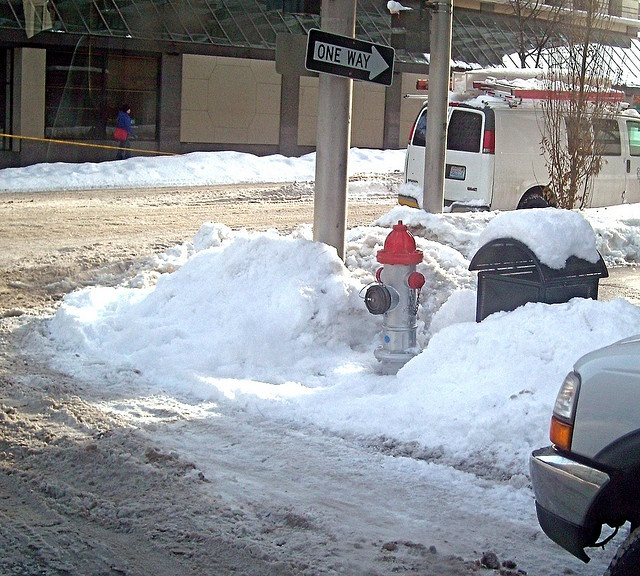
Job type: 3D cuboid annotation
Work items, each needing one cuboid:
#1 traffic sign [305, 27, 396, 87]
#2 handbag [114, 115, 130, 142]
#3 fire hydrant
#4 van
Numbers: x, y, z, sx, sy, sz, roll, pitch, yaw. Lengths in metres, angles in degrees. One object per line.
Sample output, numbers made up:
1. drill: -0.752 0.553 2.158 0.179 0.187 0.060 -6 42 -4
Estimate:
1. traffic sign: 0.284 -2.342 10.264 1.183 0.542 0.281 -9 16 -39
2. handbag: -5.244 -4.282 26.949 0.386 0.674 0.164 6 0 1
3. fire hydrant: 0.664 0.086 9.139 0.508 1.390 0.451 2 12 3
4. van: 3.340 -2.072 15.975 3.196 1.770 1.942 -7 11 -27
